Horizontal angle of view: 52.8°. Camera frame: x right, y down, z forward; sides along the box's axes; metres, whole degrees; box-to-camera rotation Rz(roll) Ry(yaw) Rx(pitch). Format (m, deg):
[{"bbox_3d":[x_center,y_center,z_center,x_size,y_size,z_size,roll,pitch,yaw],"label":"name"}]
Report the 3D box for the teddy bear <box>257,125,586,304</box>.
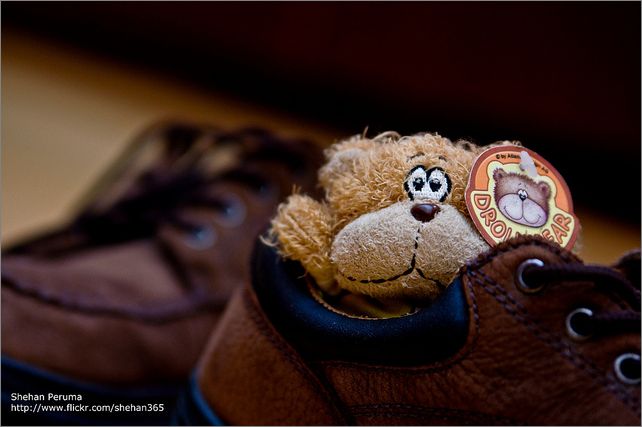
[{"bbox_3d":[0.155,0.021,1.001,0.411,0.282,0.222,3,4,2],"label":"teddy bear"}]
